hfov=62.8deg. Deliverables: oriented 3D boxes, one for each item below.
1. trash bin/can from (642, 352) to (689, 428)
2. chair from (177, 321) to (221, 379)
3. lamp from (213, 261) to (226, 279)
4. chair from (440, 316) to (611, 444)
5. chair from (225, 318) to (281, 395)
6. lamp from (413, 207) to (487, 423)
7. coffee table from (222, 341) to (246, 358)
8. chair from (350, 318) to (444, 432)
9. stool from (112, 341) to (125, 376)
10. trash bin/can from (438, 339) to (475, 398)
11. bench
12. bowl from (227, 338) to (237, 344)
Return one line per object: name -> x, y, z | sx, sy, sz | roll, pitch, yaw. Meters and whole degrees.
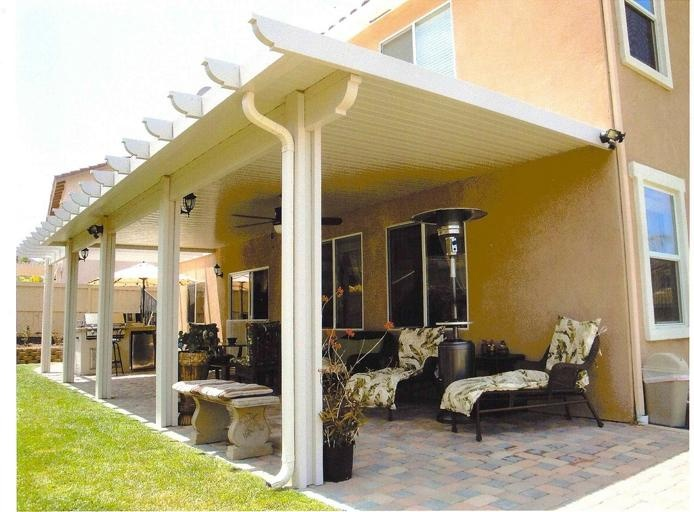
trash bin/can -> 4.112, 1.711, 7.324 | 0.513, 0.766, 0.548 | -2, -1, 28
chair -> -2.104, 1.431, 8.535 | 0.777, 0.922, 0.743 | 2, -9, -8
lamp -> -3.340, 0.398, 14.817 | 0.210, 0.373, 0.377 | -1, -1, -24
chair -> 2.244, 1.529, 7.279 | 1.891, 1.295, 0.974 | -1, -3, -11
chair -> -1.479, 1.761, 9.568 | 0.958, 1.160, 0.978 | -4, -9, 5
lamp -> 1.448, 0.737, 7.646 | 1.168, 2.832, 1.131 | -1, -5, -5
coffee table -> -2.366, 1.965, 12.028 | 0.484, 0.164, 0.724 | -2, -1, -26
chair -> 0.746, 1.562, 8.026 | 1.108, 0.977, 1.364 | -8, -4, 40
stool -> -5.386, 2.329, 13.352 | 0.236, 0.774, 0.575 | -1, -1, -22
trash bin/can -> 1.481, 1.526, 7.582 | 0.531, 0.814, 0.518 | -2, -2, -26
bench -> -1.349, 1.873, 6.622 | 0.718, 0.764, 1.272 | -1, -2, -37
bowl -> -2.386, 1.753, 11.815 | 0.200, 0.141, 0.207 | 0, -2, 0
